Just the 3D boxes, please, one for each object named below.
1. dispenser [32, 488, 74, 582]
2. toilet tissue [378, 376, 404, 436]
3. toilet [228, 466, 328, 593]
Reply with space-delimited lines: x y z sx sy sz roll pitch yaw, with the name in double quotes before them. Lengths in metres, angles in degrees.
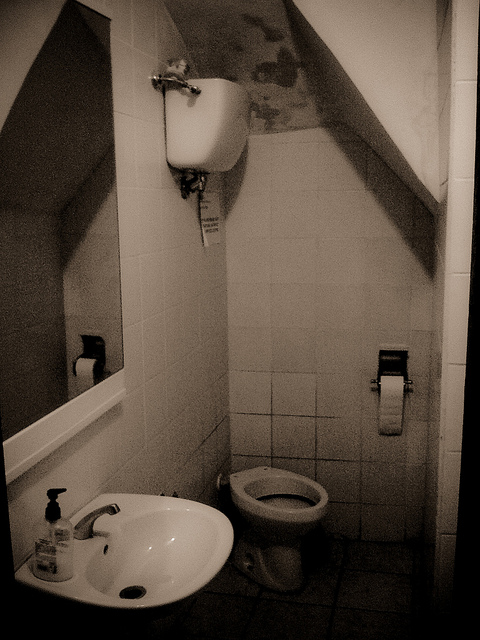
"dispenser" -0.352 0.391 1.237 0.069 0.193 0.052 6 21 0
"toilet tissue" 0.602 0.348 2.633 0.092 0.279 0.131 3 9 15
"toilet" 0.125 0.794 2.551 0.461 0.331 0.333 7 11 27
